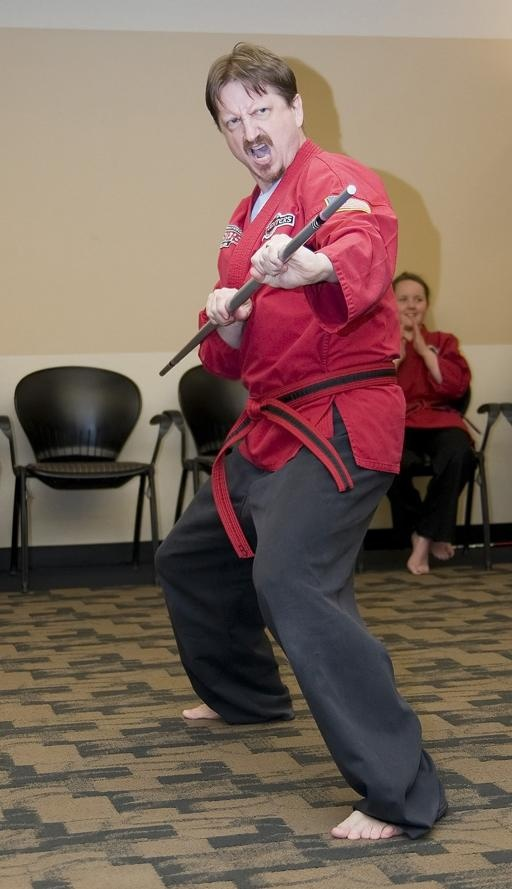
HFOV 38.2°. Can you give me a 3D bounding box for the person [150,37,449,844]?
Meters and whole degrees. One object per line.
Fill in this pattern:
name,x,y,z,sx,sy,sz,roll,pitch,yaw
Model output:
person,0.064,-0.019,1.337,0.372,1.187,0.828,-3,1,-21
